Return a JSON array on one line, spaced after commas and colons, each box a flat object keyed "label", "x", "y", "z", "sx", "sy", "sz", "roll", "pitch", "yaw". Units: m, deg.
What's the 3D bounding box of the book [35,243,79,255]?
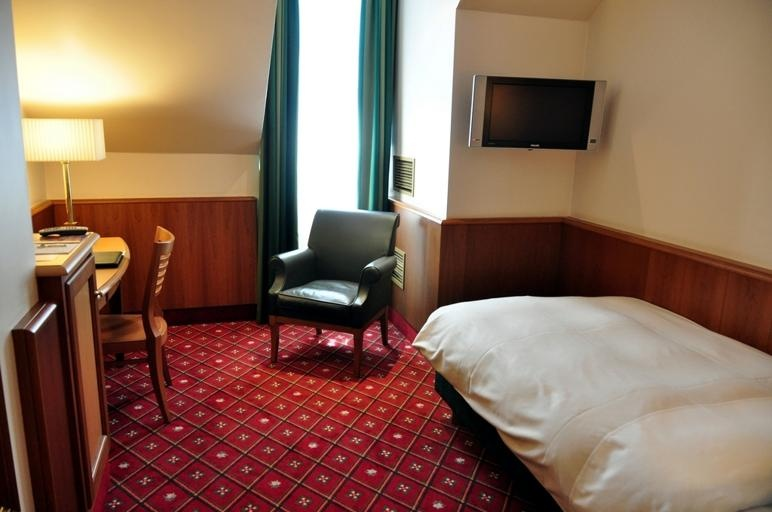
[{"label": "book", "x": -1.622, "y": -0.035, "z": 2.522, "sx": 0.182, "sy": 0.015, "sz": 0.230, "roll": -7, "pitch": 16, "yaw": -25}]

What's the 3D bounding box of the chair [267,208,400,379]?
[{"label": "chair", "x": -0.442, "y": 0.262, "z": 4.509, "sx": 0.991, "sy": 1.191, "sz": 0.896, "roll": 3, "pitch": 14, "yaw": 15}]

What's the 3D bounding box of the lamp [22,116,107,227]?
[{"label": "lamp", "x": -2.312, "y": -0.610, "z": 3.748, "sx": 0.484, "sy": 0.735, "sz": 0.180, "roll": -12, "pitch": 17, "yaw": -40}]

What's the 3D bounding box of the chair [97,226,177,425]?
[{"label": "chair", "x": -1.763, "y": 0.470, "z": 3.698, "sx": 0.521, "sy": 1.251, "sz": 0.742, "roll": -8, "pitch": 15, "yaw": -29}]
